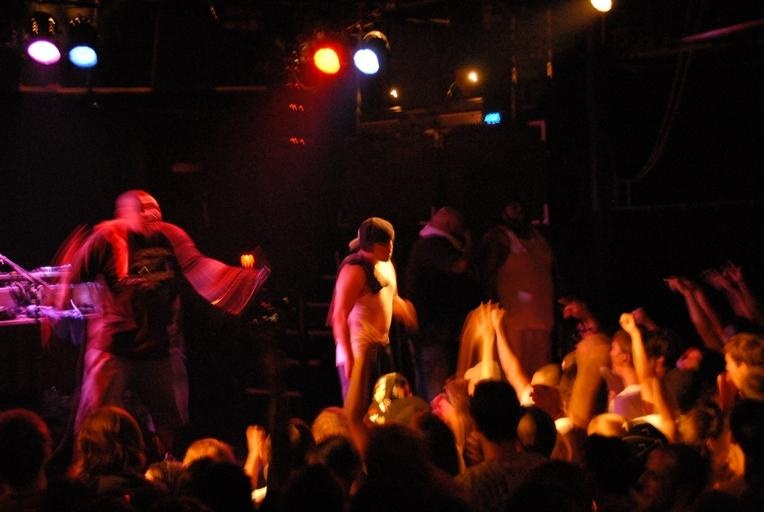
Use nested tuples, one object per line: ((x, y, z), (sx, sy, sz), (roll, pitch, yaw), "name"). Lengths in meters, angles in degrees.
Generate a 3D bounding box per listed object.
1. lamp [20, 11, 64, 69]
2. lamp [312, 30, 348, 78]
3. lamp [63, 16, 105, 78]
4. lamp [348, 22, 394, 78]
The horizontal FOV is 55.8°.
((-3.567, -2.283, 7.591), (0.445, 0.487, 0.441), (-4, 15, -42), "lamp")
((-0.591, -2.121, 7.982), (0.304, 0.291, 0.292), (3, 2, 28), "lamp")
((-3.209, -2.315, 7.794), (0.365, 0.540, 0.349), (15, 15, 38), "lamp")
((-0.110, -2.202, 7.730), (0.436, 0.500, 0.181), (10, 27, 17), "lamp")
